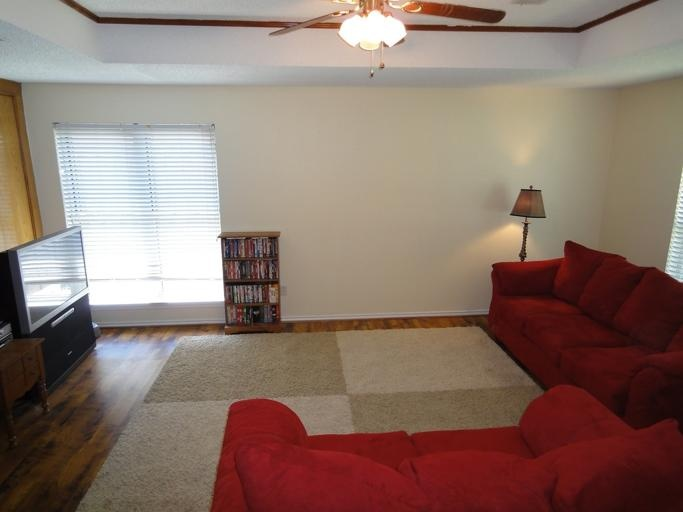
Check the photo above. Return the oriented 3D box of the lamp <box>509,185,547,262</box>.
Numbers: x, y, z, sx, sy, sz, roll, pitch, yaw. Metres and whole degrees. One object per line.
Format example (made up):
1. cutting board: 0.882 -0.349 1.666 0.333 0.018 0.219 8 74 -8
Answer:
1. lamp: 2.206 -0.374 5.741 0.375 0.906 0.600 1 11 19

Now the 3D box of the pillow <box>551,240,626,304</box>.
1. pillow: 2.657 0.204 5.174 0.246 0.629 0.632 9 -7 -25

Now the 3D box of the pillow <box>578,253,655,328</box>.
1. pillow: 2.594 0.317 4.703 0.254 0.596 0.585 24 22 -12

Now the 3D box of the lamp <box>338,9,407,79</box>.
1. lamp: 0.198 -1.416 3.304 0.472 0.471 0.480 -2 33 7
